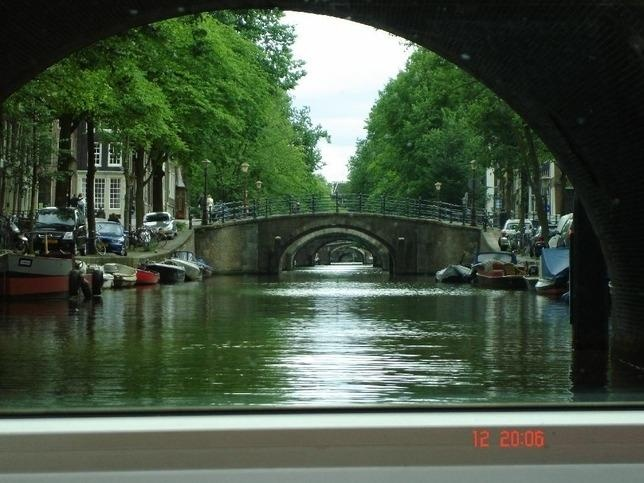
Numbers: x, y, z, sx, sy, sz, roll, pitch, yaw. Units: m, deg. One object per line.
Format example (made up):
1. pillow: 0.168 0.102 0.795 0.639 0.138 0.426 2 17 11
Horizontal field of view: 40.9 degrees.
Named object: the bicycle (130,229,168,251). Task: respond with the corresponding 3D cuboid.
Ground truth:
1. bicycle: -6.502 -0.051 32.443 0.583 0.703 1.289 -4 -5 36
